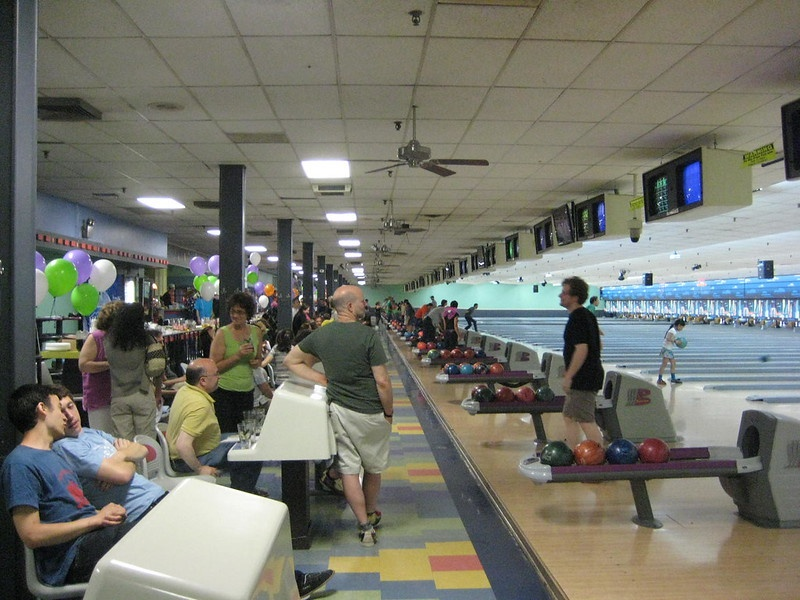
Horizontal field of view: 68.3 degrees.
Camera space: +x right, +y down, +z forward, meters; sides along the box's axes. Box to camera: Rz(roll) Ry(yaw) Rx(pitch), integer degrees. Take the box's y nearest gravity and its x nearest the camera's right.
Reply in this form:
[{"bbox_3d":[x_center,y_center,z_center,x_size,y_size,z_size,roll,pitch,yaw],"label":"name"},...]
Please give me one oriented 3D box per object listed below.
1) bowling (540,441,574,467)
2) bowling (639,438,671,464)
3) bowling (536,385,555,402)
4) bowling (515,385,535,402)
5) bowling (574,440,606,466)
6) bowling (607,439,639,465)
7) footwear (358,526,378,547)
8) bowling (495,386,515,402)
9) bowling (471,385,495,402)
[{"bbox_3d":[1.063,1.079,4.070,0.195,0.161,0.165,6,-17,-3],"label":"bowling"},{"bbox_3d":[1.719,1.050,4.053,0.177,0.167,0.164,1,-23,37],"label":"bowling"},{"bbox_3d":[1.398,0.930,5.800,0.142,0.162,0.139,-3,2,-24],"label":"bowling"},{"bbox_3d":[1.204,0.953,5.772,0.154,0.150,0.181,2,-39,14],"label":"bowling"},{"bbox_3d":[1.278,1.061,4.024,0.215,0.141,0.159,0,2,11],"label":"bowling"},{"bbox_3d":[1.497,1.058,4.036,0.210,0.140,0.202,0,1,20],"label":"bowling"},{"bbox_3d":[-0.222,1.592,3.933,0.069,0.070,0.157,1,2,-2],"label":"footwear"},{"bbox_3d":[1.010,0.930,5.712,0.143,0.138,0.162,-14,-15,17],"label":"bowling"},{"bbox_3d":[0.789,0.940,5.775,0.128,0.124,0.307,-18,0,-3],"label":"bowling"}]
